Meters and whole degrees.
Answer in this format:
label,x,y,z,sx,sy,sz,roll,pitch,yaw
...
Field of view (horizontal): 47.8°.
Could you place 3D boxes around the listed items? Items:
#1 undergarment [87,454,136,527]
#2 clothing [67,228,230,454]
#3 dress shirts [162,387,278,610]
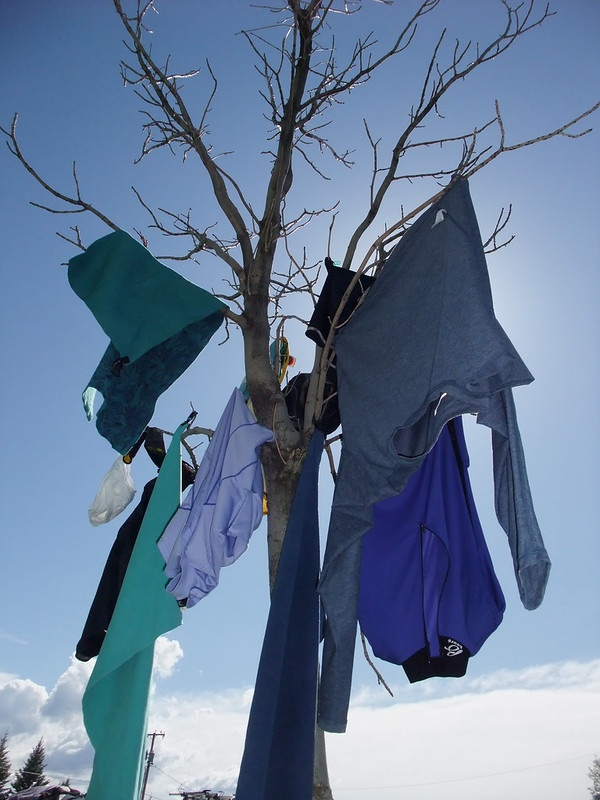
label,x,y,z,sx,sy,sz,roll,pitch,yaw
undergarment,-1.201,0.560,4.395,0.275,0.607,0.102,0,-42,7
clothing,-0.622,-0.257,3.497,0.341,1.266,1.073,42,-17,-24
dress shirts,-0.363,0.447,3.190,0.422,1.029,0.320,15,-4,-37
